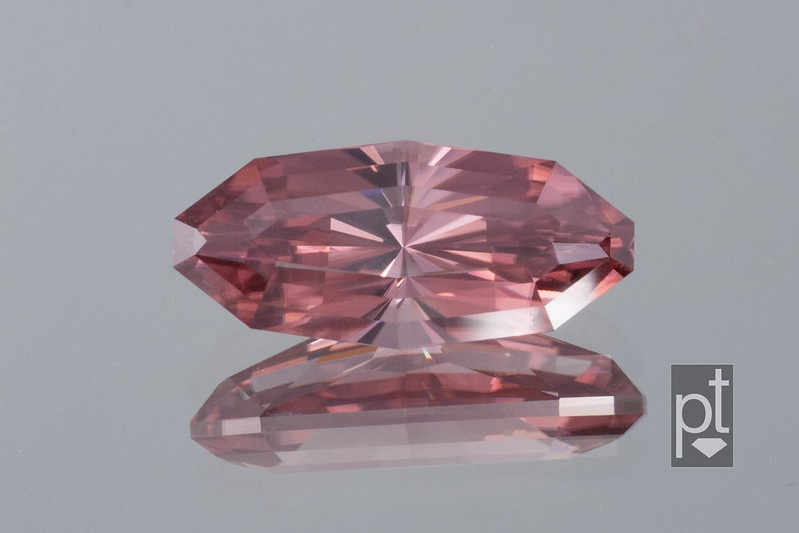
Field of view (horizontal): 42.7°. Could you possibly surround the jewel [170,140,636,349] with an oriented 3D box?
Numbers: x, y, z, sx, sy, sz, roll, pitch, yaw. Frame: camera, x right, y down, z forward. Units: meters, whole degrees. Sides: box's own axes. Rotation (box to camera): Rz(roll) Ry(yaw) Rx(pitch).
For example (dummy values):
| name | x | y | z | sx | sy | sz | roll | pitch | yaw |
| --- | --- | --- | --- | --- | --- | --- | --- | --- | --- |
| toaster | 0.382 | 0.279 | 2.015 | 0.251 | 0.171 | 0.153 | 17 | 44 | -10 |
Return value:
| name | x | y | z | sx | sy | sz | roll | pitch | yaw |
| --- | --- | --- | --- | --- | --- | --- | --- | --- | --- |
| jewel | 0.007 | -0.018 | 1.145 | 0.512 | 0.052 | 0.217 | -1 | 82 | 1 |
